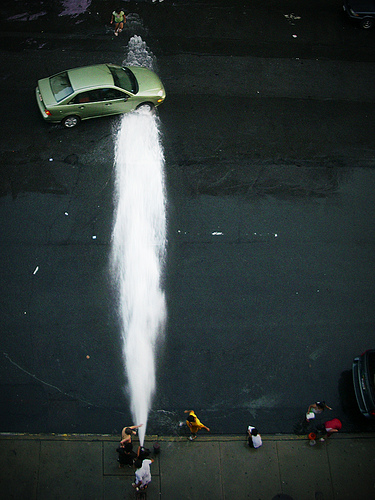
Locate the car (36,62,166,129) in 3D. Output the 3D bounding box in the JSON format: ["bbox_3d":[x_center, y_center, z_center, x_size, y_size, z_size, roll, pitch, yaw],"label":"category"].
[{"bbox_3d":[-2.376,-4.120,14.706,3.643,1.106,1.502,-11,75,-13],"label":"car"}]

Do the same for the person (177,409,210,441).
[{"bbox_3d":[0.096,3.492,10.787,0.581,0.742,0.290,12,38,17],"label":"person"}]
